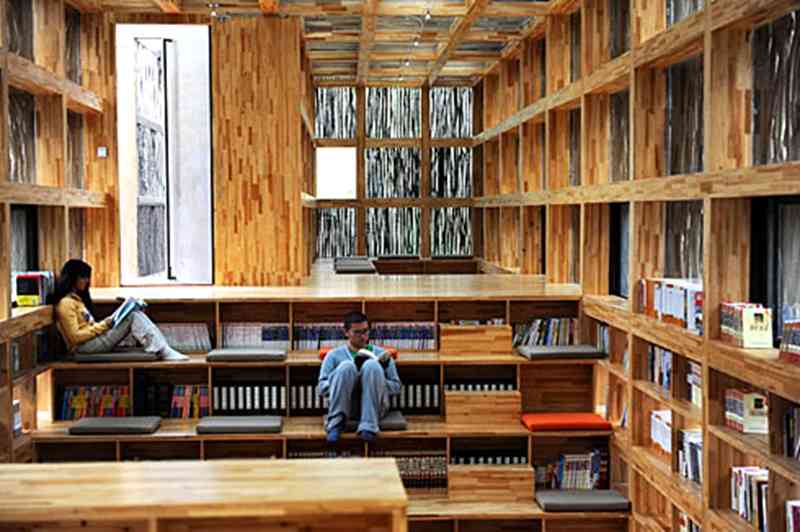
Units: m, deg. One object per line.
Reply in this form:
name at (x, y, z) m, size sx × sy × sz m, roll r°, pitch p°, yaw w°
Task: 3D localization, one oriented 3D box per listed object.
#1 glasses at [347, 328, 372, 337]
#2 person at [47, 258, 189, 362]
glasses at (-0.448, 0.732, 8.188) m, size 0.210 × 0.073 × 0.117 m, roll -2°, pitch -51°, yaw -9°
person at (-3.293, 0.539, 8.652) m, size 1.499 × 0.643 × 0.994 m, roll 6°, pitch -79°, yaw -30°
